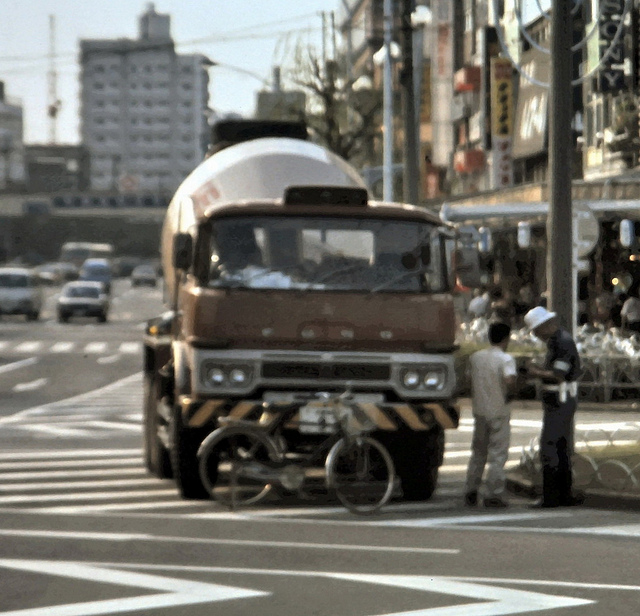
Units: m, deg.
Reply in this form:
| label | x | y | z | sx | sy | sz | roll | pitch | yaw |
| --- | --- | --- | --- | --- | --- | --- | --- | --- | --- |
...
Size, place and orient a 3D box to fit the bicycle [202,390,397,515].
| label | x | y | z | sx | sy | sz | roll | pitch | yaw |
| --- | --- | --- | --- | --- | --- | --- | --- | --- | --- |
| bicycle | -0.150 | 1.174 | 9.910 | 1.683 | 0.929 | 0.768 | 6 | -2 | -18 |

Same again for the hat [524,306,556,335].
| label | x | y | z | sx | sy | sz | roll | pitch | yaw |
| --- | --- | --- | --- | --- | --- | --- | --- | --- | --- |
| hat | 1.896 | 0.095 | 10.342 | 0.258 | 0.177 | 0.501 | -8 | 2 | 11 |

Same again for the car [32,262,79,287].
| label | x | y | z | sx | sy | sz | roll | pitch | yaw |
| --- | --- | --- | --- | --- | --- | --- | --- | --- | --- |
| car | -14.114 | -1.795 | 64.328 | 2.846 | 1.113 | 4.280 | -1 | 1 | -3 |

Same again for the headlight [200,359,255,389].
| label | x | y | z | sx | sy | sz | roll | pitch | yaw |
| --- | --- | --- | --- | --- | --- | --- | --- | --- | --- |
| headlight | -0.753 | 0.533 | 9.834 | 0.313 | 0.178 | 0.298 | 1 | -4 | -5 |

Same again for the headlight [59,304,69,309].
| label | x | y | z | sx | sy | sz | roll | pitch | yaw |
| --- | --- | --- | --- | --- | --- | --- | --- | --- | --- |
| headlight | -8.312 | -0.029 | 39.254 | 0.313 | 0.145 | 0.063 | -7 | 3 | 15 |
